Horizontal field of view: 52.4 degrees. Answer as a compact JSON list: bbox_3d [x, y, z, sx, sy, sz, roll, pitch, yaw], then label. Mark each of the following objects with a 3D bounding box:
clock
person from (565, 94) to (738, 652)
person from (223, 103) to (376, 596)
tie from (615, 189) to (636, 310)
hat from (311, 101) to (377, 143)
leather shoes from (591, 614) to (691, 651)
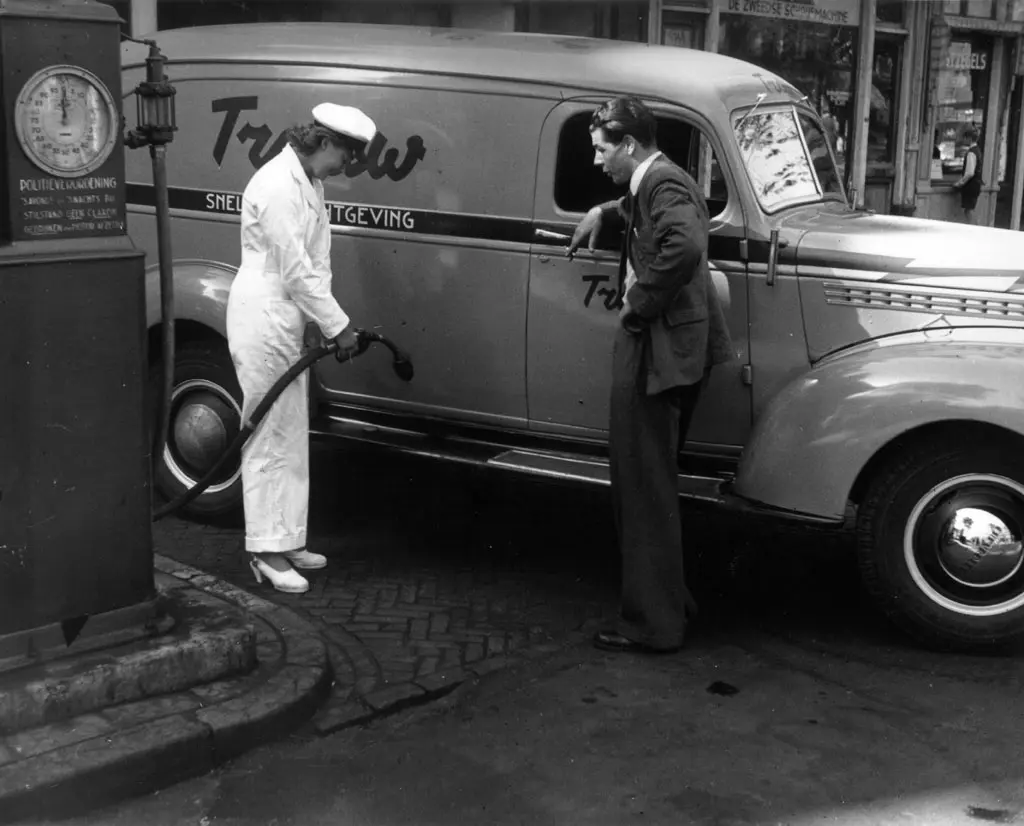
[{"bbox_3d":[-1.618,-1.065,3.734,0.086,0.431,0.384,13,11,35],"label":"clock"},{"bbox_3d":[0.657,-0.168,4.808,0.613,2.507,0.514,6,11,23],"label":"person"},{"bbox_3d":[-1.115,-0.332,5.315,0.649,2.440,0.456,-1,11,-17],"label":"person"},{"bbox_3d":[0.553,-0.807,4.994,0.059,0.579,0.117,12,-11,4],"label":"tie"},{"bbox_3d":[-0.843,-1.437,5.144,0.255,0.107,0.229,19,36,-22],"label":"hat"},{"bbox_3d":[0.581,1.053,4.815,0.400,0.217,0.185,4,5,13],"label":"leather shoes"}]
